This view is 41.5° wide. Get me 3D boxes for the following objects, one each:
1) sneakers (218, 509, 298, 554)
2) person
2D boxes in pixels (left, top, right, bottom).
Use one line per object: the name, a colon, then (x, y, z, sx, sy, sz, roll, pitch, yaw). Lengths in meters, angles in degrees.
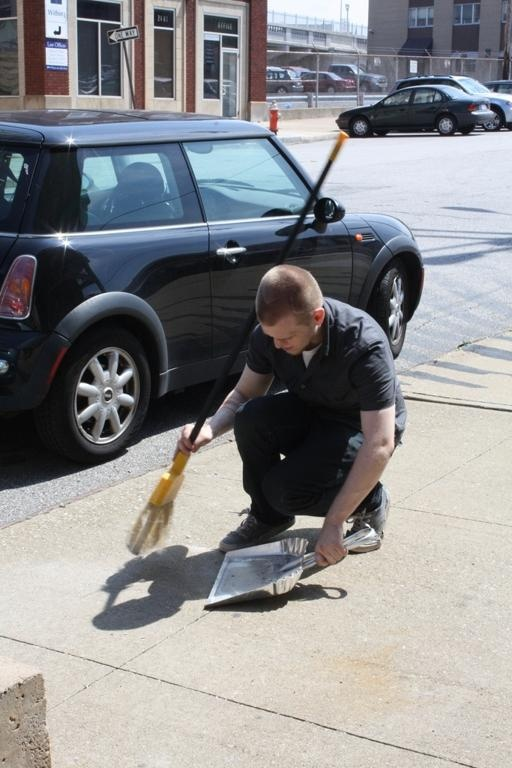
sneakers: (0.012, 0.558, 2.714, 0.344, 0.129, 0.113, -13, 13, -34)
person: (0.181, 0.130, 2.418, 0.707, 1.092, 0.764, -11, 14, -40)
